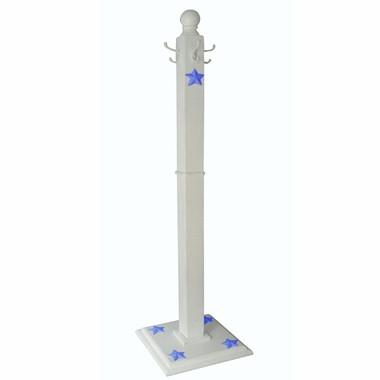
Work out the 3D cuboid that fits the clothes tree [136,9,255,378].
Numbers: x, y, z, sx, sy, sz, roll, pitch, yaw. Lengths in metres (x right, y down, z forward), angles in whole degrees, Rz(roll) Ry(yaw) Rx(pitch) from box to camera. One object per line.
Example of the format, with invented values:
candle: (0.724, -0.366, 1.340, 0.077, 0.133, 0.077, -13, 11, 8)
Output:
clothes tree: (-0.002, 0.046, 3.429, 0.649, 2.219, 0.887, -1, -9, -15)
